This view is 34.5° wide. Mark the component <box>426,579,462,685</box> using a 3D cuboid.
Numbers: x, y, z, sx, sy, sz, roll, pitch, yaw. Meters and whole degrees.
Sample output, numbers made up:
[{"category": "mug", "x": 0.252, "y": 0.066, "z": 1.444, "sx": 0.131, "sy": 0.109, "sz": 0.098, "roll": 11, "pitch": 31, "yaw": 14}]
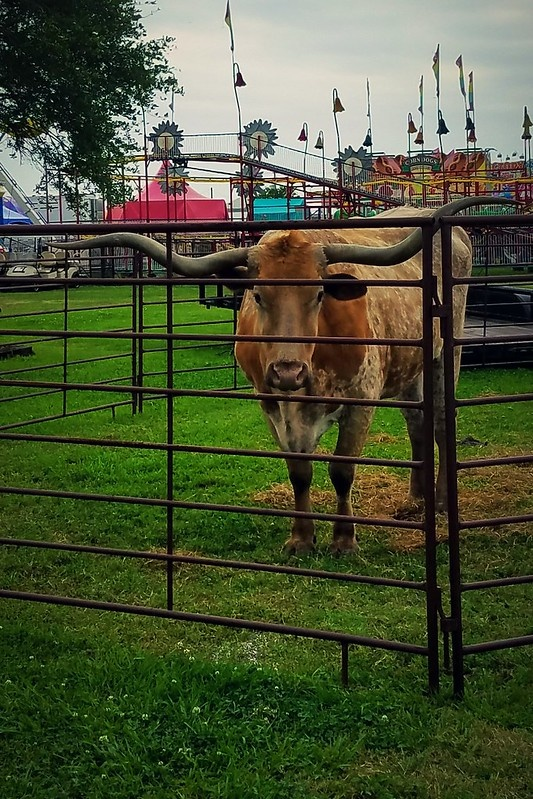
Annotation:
[{"category": "component", "x": 0.666, "y": 0.885, "z": 3.190, "sx": 0.143, "sy": 0.391, "sz": 0.128, "roll": 3, "pitch": -10, "yaw": -13}]

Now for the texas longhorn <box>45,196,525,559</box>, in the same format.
[{"category": "texas longhorn", "x": 0.380, "y": -0.126, "z": 5.723, "sx": 1.864, "sy": 2.162, "sz": 3.579, "roll": 4, "pitch": 7, "yaw": 27}]

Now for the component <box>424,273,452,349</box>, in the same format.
[{"category": "component", "x": 0.639, "y": -0.332, "z": 3.189, "sx": 0.062, "sy": 0.251, "sz": 0.083, "roll": -10, "pitch": 7, "yaw": 12}]
